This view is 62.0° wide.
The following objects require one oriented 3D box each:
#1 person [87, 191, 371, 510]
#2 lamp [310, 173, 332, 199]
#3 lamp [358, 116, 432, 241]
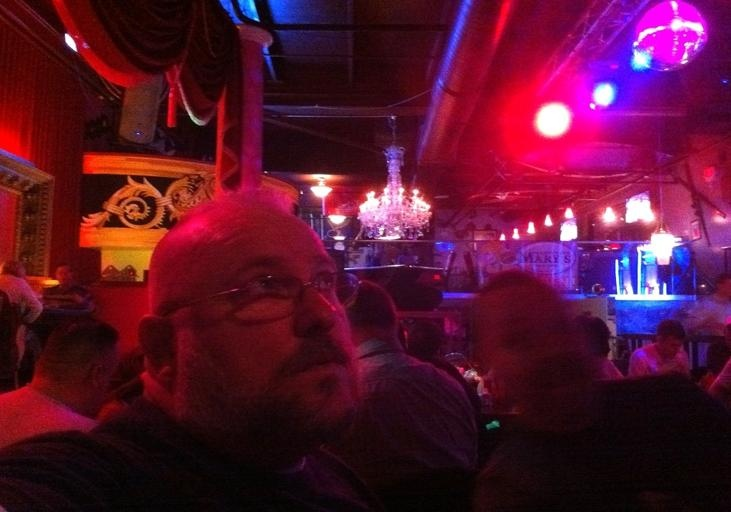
[{"bbox_3d":[-0.426,0.385,2.355,0.805,1.270,0.328,-2,-3,3],"label":"person"},{"bbox_3d":[-0.755,-1.198,10.382,0.393,0.301,0.331,1,2,-3],"label":"lamp"},{"bbox_3d":[0.467,-1.437,10.908,1.450,2.297,1.356,-8,10,-40],"label":"lamp"}]
